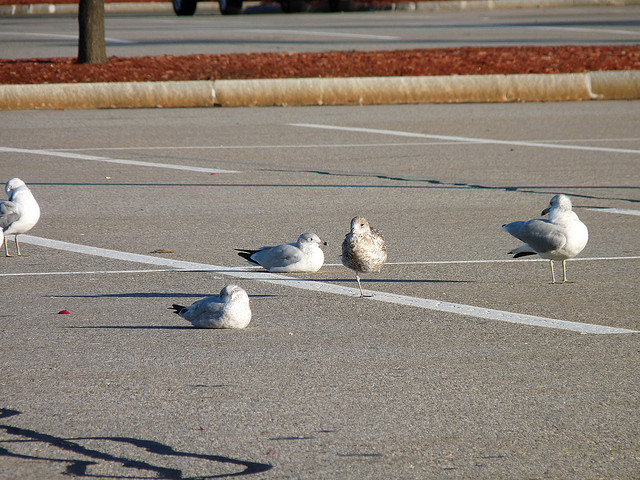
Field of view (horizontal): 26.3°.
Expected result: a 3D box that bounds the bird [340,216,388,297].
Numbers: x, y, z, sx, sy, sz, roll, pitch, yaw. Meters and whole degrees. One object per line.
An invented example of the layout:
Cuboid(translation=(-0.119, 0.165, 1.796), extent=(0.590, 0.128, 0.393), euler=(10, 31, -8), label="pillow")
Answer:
Cuboid(translation=(0.507, 0.088, 15.049), extent=(0.456, 0.653, 0.259), euler=(-1, 9, -7), label="bird")

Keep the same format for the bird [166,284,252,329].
Cuboid(translation=(-1.124, 0.715, 14.618), extent=(1.063, 0.534, 0.590), euler=(5, 7, 39), label="bird")

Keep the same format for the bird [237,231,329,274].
Cuboid(translation=(-0.355, 0.145, 15.747), extent=(1.005, 0.450, 0.463), euler=(3, 3, 8), label="bird")

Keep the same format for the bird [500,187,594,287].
Cuboid(translation=(2.595, -0.047, 15.718), extent=(0.749, 0.984, 1.295), euler=(-4, 6, -41), label="bird")
